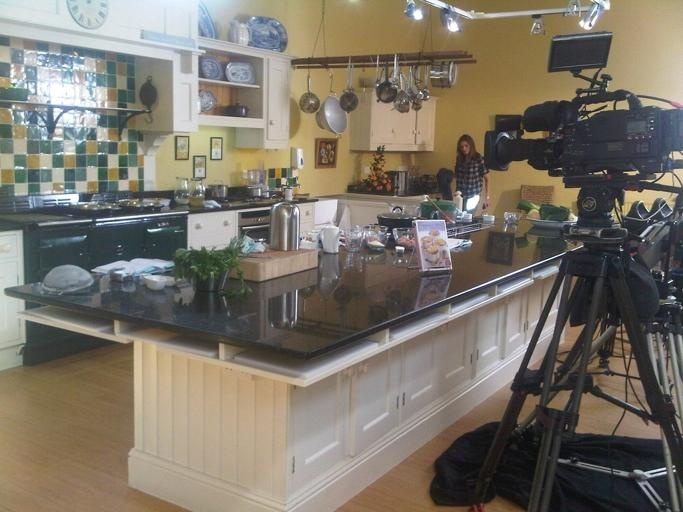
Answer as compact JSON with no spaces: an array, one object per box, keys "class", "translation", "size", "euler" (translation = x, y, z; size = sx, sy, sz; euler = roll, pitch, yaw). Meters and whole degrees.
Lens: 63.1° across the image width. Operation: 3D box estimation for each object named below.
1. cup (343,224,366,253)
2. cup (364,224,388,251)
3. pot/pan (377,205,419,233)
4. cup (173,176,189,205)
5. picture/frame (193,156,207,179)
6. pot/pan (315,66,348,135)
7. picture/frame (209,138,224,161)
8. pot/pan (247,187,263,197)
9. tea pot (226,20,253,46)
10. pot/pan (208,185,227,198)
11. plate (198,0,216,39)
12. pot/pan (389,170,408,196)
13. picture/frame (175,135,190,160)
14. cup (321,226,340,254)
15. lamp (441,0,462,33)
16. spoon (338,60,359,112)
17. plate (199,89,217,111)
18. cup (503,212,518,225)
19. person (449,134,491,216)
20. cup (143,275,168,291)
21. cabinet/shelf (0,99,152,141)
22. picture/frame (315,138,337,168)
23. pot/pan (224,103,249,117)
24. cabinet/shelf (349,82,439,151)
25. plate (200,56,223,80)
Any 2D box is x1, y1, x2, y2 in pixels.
[{"class":"cup","translation":[0.086,-0.121,3.897],"size":[0.155,0.174,0.165],"euler":[2,14,0]},{"class":"cup","translation":[0.244,-0.132,4.015],"size":[0.152,0.139,0.184],"euler":[3,20,-9]},{"class":"pot/pan","translation":[0.447,-0.290,4.496],"size":[0.208,0.155,0.289],"euler":[1,2,14]},{"class":"cup","translation":[-1.564,-0.625,5.411],"size":[0.131,0.247,0.179],"euler":[0,13,-11]},{"class":"picture/frame","translation":[-1.549,-0.951,6.012],"size":[0.036,0.259,0.192],"euler":[9,15,28]},{"class":"pot/pan","translation":[-0.094,-1.915,6.900],"size":[0.161,0.756,0.497],"euler":[0,-9,26]},{"class":"picture/frame","translation":[-1.405,-1.175,6.134],"size":[0.032,0.338,0.235],"euler":[4,7,36]},{"class":"pot/pan","translation":[-1.002,-0.711,6.313],"size":[0.135,0.139,0.138],"euler":[13,20,32]},{"class":"tea pot","translation":[-1.093,-2.324,5.839],"size":[0.215,0.235,0.166],"euler":[-2,14,-17]},{"class":"pot/pan","translation":[-1.357,-0.684,6.007],"size":[0.131,0.130,0.168],"euler":[1,1,30]},{"class":"plate","translation":[-1.371,-2.386,5.627],"size":[0.175,0.375,0.482],"euler":[-1,14,-12]},{"class":"pot/pan","translation":[0.871,-1.081,8.259],"size":[0.251,0.361,0.464],"euler":[0,19,0]},{"class":"picture/frame","translation":[-1.692,-1.134,5.803],"size":[0.028,0.291,0.226],"euler":[10,13,36]},{"class":"cup","translation":[-0.110,-0.103,3.675],"size":[0.096,0.165,0.181],"euler":[-4,10,-18]},{"class":"lamp","translation":[1.001,-2.055,4.905],"size":[0.164,0.227,0.546],"euler":[-3,-1,13]},{"class":"spoon","translation":[0.075,-1.726,5.736],"size":[0.174,0.520,0.078],"euler":[1,-12,7]},{"class":"plate","translation":[-1.429,-1.616,5.833],"size":[0.107,0.233,0.295],"euler":[8,14,23]},{"class":"cup","translation":[1.669,-0.358,5.453],"size":[0.125,0.108,0.139],"euler":[2,11,7]},{"class":"person","translation":[1.829,-0.948,8.030],"size":[0.589,1.553,0.410],"euler":[-4,39,8]},{"class":"cup","translation":[-0.965,0.140,2.840],"size":[0.072,0.045,0.092],"euler":[-1,2,-42]},{"class":"cabinet/shelf","translation":[-2.275,-1.178,4.891],"size":[0.340,0.307,1.300],"euler":[12,16,35]},{"class":"picture/frame","translation":[-0.230,-1.404,7.552],"size":[0.051,0.344,0.380],"euler":[4,11,31]},{"class":"pot/pan","translation":[-1.176,-1.555,6.031],"size":[0.161,0.136,0.188],"euler":[13,17,38]},{"class":"cabinet/shelf","translation":[0.625,-1.806,7.307],"size":[0.314,0.674,1.229],"euler":[6,9,38]},{"class":"plate","translation":[-1.379,-1.963,5.817],"size":[0.097,0.228,0.295],"euler":[13,17,40]}]
